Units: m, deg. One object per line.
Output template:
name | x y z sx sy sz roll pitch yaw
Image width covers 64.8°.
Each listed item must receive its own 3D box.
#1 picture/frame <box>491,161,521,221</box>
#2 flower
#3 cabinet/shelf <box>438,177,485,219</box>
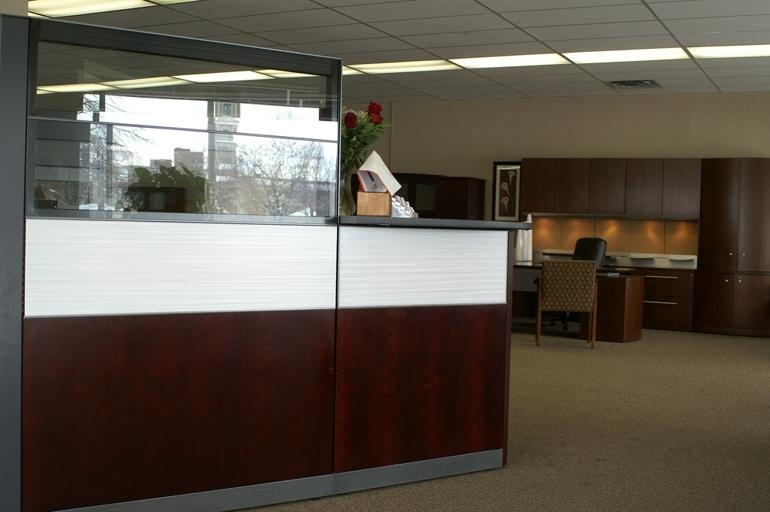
picture/frame | 2.188 -1.110 10.817 0.531 1.086 0.071 2 -4 27
flower | -0.143 -0.693 4.197 0.287 0.808 0.719 1 4 -1
cabinet/shelf | 1.248 -1.052 10.945 0.716 0.729 0.591 5 15 29
